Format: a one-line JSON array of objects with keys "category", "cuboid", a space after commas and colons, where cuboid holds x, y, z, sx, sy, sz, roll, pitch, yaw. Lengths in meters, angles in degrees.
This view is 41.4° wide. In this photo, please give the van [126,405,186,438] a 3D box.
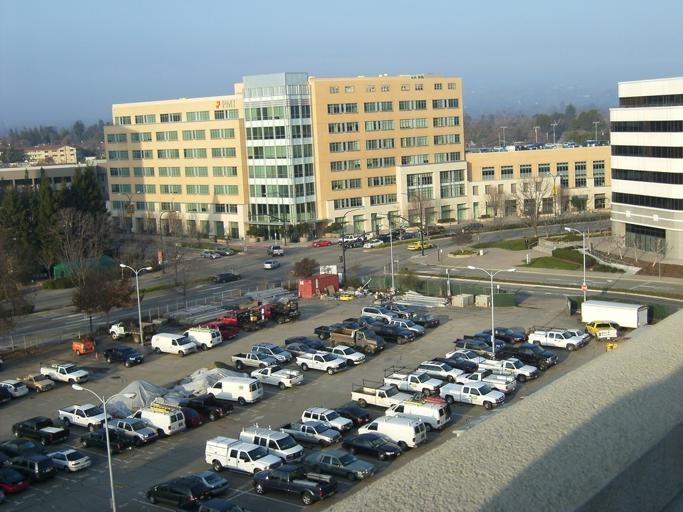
[{"category": "van", "cuboid": [-12.870, 11.548, 64.403, 3.147, 1.343, 2.119, 12, 13, 33]}]

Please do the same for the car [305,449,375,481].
[{"category": "car", "cuboid": [-0.090, 13.387, 57.898, 4.605, 1.266, 2.104, 2, 5, 36]}]

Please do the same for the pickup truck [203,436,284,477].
[{"category": "pickup truck", "cuboid": [-6.361, 13.310, 58.841, 4.688, 1.573, 2.084, 3, 13, 30]}]

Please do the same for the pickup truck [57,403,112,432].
[{"category": "pickup truck", "cuboid": [-18.613, 11.712, 65.884, 4.406, 1.463, 2.520, 2, 8, 33]}]

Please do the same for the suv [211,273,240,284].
[{"category": "suv", "cuboid": [-13.420, 2.665, 106.377, 2.463, 0.807, 1.313, -8, 12, -27]}]

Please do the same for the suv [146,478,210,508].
[{"category": "suv", "cuboid": [-10.099, 14.730, 55.909, 3.642, 1.447, 1.623, 5, 6, 27]}]

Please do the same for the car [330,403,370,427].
[{"category": "car", "cuboid": [0.686, 11.316, 63.698, 2.195, 0.712, 1.203, 9, 15, 44]}]

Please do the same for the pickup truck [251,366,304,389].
[{"category": "pickup truck", "cuboid": [-4.987, 9.491, 70.712, 3.446, 1.154, 1.785, 8, 10, 31]}]

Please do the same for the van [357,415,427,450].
[{"category": "van", "cuboid": [3.502, 11.860, 61.454, 4.759, 1.998, 2.417, 2, 14, 38]}]

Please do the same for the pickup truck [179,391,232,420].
[{"category": "pickup truck", "cuboid": [-9.695, 11.050, 66.324, 3.166, 1.066, 1.758, 10, 12, 32]}]

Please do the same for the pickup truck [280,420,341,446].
[{"category": "pickup truck", "cuboid": [-1.855, 12.140, 61.791, 3.341, 1.050, 1.781, 2, 8, 27]}]

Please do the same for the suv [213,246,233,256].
[{"category": "suv", "cuboid": [-16.388, -0.499, 125.140, 2.119, 0.901, 1.212, 1, 6, 27]}]

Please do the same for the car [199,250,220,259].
[{"category": "car", "cuboid": [-17.838, -0.067, 123.665, 2.000, 0.802, 1.155, 2, 8, 24]}]

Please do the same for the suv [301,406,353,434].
[{"category": "suv", "cuboid": [-1.003, 11.404, 62.644, 3.006, 1.265, 1.625, 1, 7, 29]}]

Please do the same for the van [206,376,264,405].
[{"category": "van", "cuboid": [-7.862, 10.116, 68.199, 3.502, 1.411, 1.970, 6, 4, 25]}]

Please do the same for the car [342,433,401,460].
[{"category": "car", "cuboid": [1.998, 12.556, 59.452, 3.477, 1.004, 1.546, 3, 12, 36]}]

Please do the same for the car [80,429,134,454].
[{"category": "car", "cuboid": [-16.157, 12.777, 62.430, 3.160, 1.047, 1.529, 6, 5, 25]}]

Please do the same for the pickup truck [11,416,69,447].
[{"category": "pickup truck", "cuboid": [-21.303, 12.661, 64.030, 3.954, 1.339, 1.793, 9, 10, 30]}]

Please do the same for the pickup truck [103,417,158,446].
[{"category": "pickup truck", "cuboid": [-14.675, 12.533, 63.286, 3.017, 1.008, 1.731, 8, 13, 32]}]
